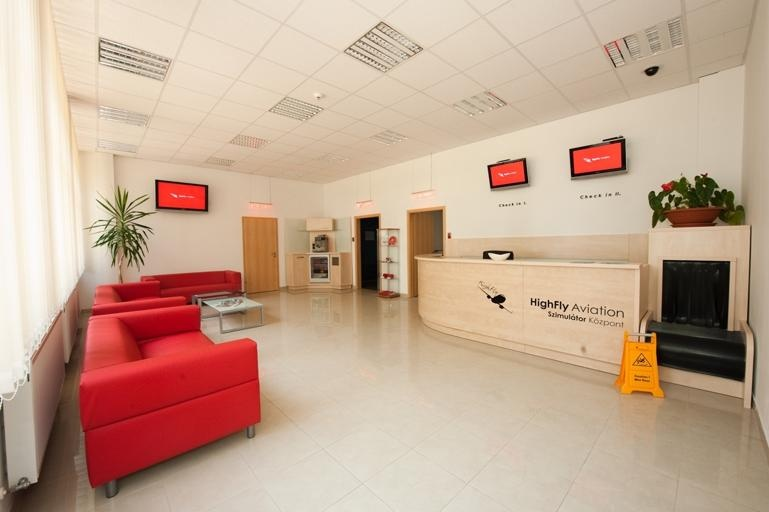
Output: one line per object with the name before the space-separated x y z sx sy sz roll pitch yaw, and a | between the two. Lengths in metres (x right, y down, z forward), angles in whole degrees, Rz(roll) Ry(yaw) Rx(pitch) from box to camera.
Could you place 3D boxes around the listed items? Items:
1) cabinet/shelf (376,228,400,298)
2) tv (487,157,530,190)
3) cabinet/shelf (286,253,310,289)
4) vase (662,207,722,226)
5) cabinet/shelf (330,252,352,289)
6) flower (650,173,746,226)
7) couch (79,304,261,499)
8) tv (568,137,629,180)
cabinet/shelf | 0.074 0.130 11.113 0.439 1.687 0.891 -5 6 -32
tv | 2.402 -1.588 8.319 0.096 0.496 0.710 -16 8 -40
cabinet/shelf | -2.395 0.424 12.160 0.624 1.009 0.338 -3 5 -12
vase | 4.270 -0.540 6.015 0.626 0.271 0.306 1 6 32
cabinet/shelf | -1.197 0.398 12.314 0.410 1.020 0.540 3 7 41
flower | 4.346 -0.787 6.141 0.934 0.510 0.898 0 0 17
couch | -2.352 1.911 4.902 1.602 1.111 2.590 -3 5 -32
tv | 3.608 -1.621 7.246 0.790 0.525 0.097 3 11 39
